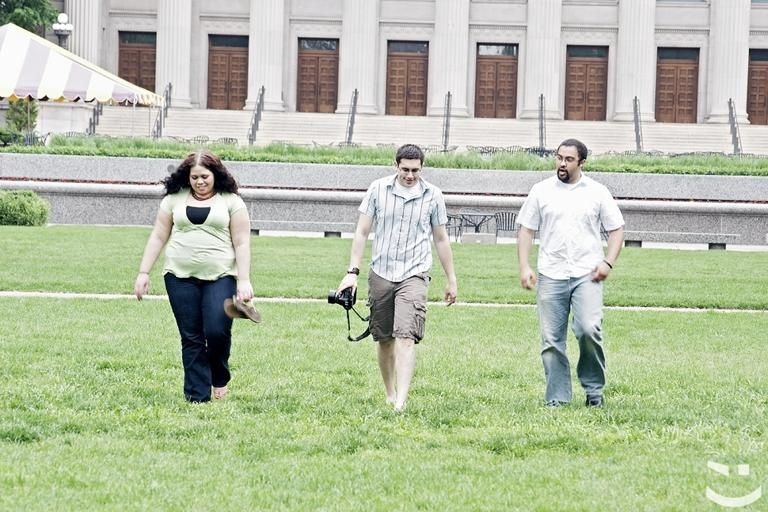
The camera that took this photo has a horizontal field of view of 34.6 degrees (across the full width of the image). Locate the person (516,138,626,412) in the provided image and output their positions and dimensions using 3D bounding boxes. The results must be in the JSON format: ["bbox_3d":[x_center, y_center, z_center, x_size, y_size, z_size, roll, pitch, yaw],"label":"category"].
[{"bbox_3d":[2.722,0.225,18.153,1.451,3.791,1.027,3,12,11],"label":"person"}]

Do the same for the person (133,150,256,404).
[{"bbox_3d":[-2.669,0.279,17.969,1.461,3.548,0.932,-2,12,-8],"label":"person"}]

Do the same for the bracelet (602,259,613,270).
[{"bbox_3d":[3.257,0.115,18.045,0.117,0.032,0.120,51,-5,-6],"label":"bracelet"}]

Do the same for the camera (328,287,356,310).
[{"bbox_3d":[-0.616,0.600,17.953,0.321,0.237,0.323,2,5,2],"label":"camera"}]
